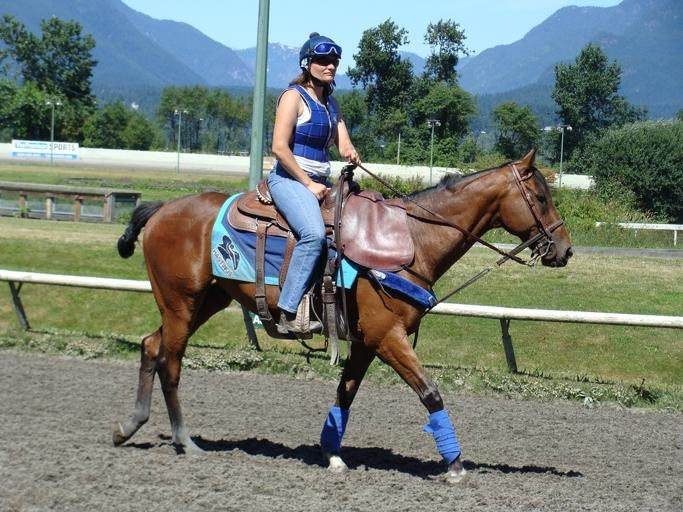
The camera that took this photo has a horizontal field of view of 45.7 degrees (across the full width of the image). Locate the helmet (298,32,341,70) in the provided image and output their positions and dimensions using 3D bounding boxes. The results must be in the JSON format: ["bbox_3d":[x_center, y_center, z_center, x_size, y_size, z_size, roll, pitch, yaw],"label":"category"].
[{"bbox_3d":[-0.222,-2.186,8.527,0.421,0.381,0.437,-8,14,-28],"label":"helmet"}]

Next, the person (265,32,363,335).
[{"bbox_3d":[-0.398,-0.746,8.388,0.683,3.063,0.847,2,10,2],"label":"person"}]
